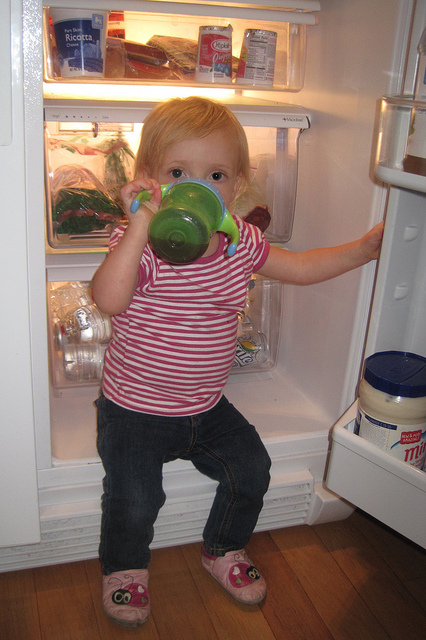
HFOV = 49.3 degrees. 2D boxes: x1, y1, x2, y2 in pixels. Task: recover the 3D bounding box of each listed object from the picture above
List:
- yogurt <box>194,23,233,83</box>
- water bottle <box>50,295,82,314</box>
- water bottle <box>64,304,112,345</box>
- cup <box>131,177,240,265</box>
[{"bbox_3d":[0.003,-0.542,0.959,0.080,0.109,0.048,0,12,-11],"label":"yogurt"},{"bbox_3d":[-0.374,-0.046,1.187,0.079,0.043,0.045,-11,21,-21],"label":"water bottle"},{"bbox_3d":[-0.307,0.016,1.129,0.106,0.107,0.057,-3,13,-23],"label":"water bottle"},{"bbox_3d":[-0.018,-0.106,0.490,0.086,0.090,0.130,3,13,3],"label":"cup"}]
